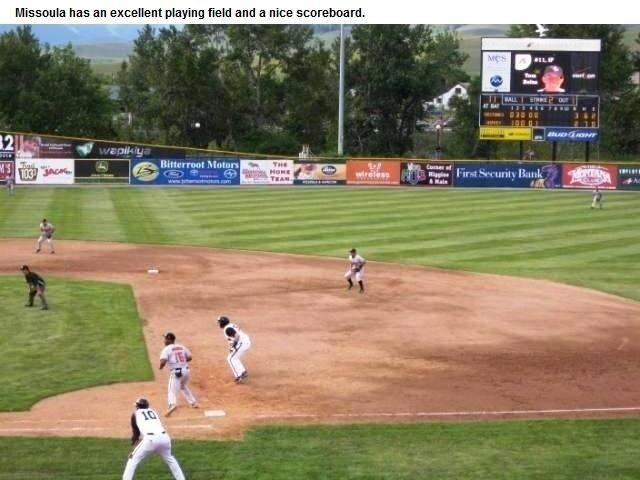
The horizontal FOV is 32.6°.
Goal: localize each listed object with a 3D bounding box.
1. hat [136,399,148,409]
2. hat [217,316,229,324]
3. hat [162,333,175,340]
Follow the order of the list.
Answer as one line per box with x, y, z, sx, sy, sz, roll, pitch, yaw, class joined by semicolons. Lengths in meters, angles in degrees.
-7.149;6.549;43.877;0.451;0.365;0.373;8;7;36;hat
-4.297;3.544;48.610;0.468;0.325;0.348;-13;23;-27;hat
-6.577;4.195;47.074;0.549;0.267;0.375;8;15;38;hat
